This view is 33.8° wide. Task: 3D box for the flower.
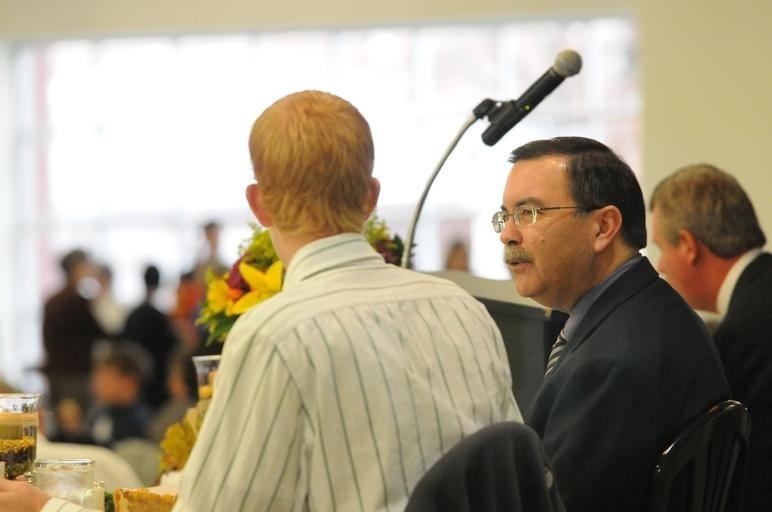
[{"bbox_3d":[-0.504,0.116,6.350,0.728,0.428,0.841,-12,0,-38],"label":"flower"}]
